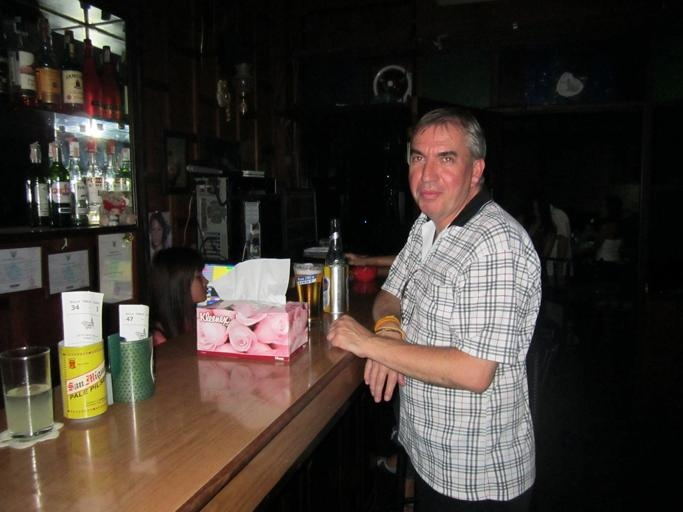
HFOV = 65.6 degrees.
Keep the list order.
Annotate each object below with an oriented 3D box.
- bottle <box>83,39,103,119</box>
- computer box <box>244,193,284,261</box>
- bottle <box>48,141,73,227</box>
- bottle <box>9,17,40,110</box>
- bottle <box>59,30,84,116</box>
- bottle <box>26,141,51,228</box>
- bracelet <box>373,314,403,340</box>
[{"bbox_3d":[-1.312,-0.942,2.779,0.089,0.401,0.135,-6,13,-23],"label":"bottle"},{"bbox_3d":[-0.517,-0.198,3.487,0.263,0.418,0.163,-2,12,-7],"label":"computer box"},{"bbox_3d":[-1.465,-0.385,2.752,0.109,0.420,0.329,-7,13,-27],"label":"bottle"},{"bbox_3d":[-1.530,-0.945,2.529,0.115,0.429,0.223,-7,14,-29],"label":"bottle"},{"bbox_3d":[-1.392,-0.955,2.730,0.108,0.408,0.208,-6,13,-26],"label":"bottle"},{"bbox_3d":[-1.596,-0.373,2.776,0.113,0.400,0.210,-7,14,-30],"label":"bottle"},{"bbox_3d":[0.189,0.267,2.035,0.072,0.047,0.086,5,10,40],"label":"bracelet"}]
